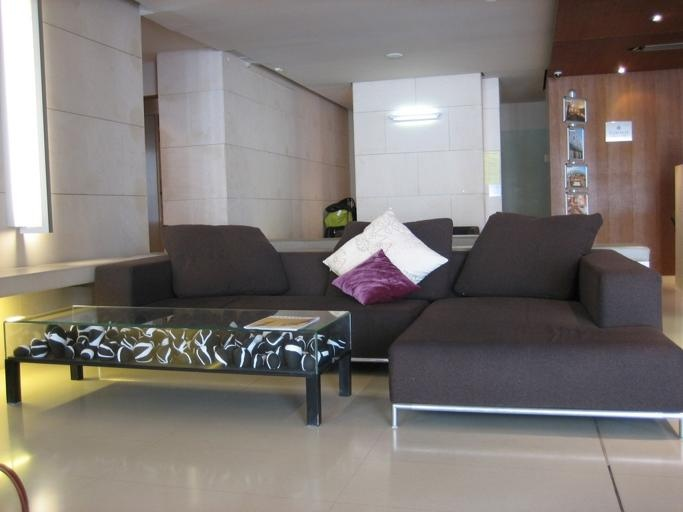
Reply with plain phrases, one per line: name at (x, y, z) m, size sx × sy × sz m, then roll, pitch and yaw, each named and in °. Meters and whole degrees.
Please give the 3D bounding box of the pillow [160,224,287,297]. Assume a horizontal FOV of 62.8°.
pillow at (-0.917, 0.025, 4.224) m, size 0.695 × 0.624 × 0.197 m, roll 0°, pitch -28°, yaw -18°

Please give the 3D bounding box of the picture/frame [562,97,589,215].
picture/frame at (3.145, -1.390, 7.465) m, size 0.350 × 1.608 × 0.209 m, roll 1°, pitch 8°, yaw 21°

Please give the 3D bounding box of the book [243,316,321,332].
book at (-0.302, 0.348, 2.966) m, size 0.347 × 0.030 × 0.295 m, roll 0°, pitch 7°, yaw 11°

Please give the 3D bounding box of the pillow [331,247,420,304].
pillow at (0.205, 0.198, 3.801) m, size 0.602 × 0.152 × 0.586 m, roll -14°, pitch 33°, yaw -16°
